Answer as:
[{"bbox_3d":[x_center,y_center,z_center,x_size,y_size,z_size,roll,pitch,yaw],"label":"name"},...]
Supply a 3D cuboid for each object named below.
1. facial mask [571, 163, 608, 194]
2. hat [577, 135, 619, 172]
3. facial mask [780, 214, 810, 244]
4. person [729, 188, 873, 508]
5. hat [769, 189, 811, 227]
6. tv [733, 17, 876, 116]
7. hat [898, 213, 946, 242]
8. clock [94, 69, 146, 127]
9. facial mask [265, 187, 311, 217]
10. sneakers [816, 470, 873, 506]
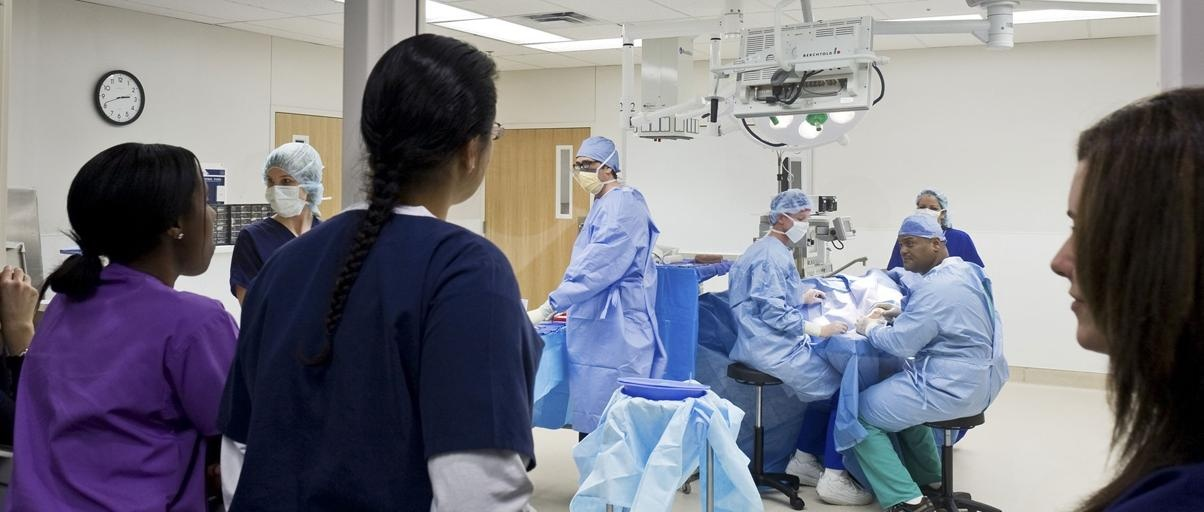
[{"bbox_3d":[-0.069,-0.583,7.100,0.254,0.137,0.224,-17,15,-31],"label":"facial mask"},{"bbox_3d":[-0.043,-0.790,7.114,0.276,0.288,0.267,3,-31,0],"label":"hat"},{"bbox_3d":[1.415,-0.184,6.919,0.208,0.108,0.165,8,1,16],"label":"facial mask"},{"bbox_3d":[1.408,0.657,6.904,0.987,2.262,0.365,1,6,6],"label":"person"},{"bbox_3d":[1.353,-0.343,6.938,0.235,0.133,0.267,5,-29,-36],"label":"hat"},{"bbox_3d":[1.303,-1.279,6.313,0.966,0.530,0.486,3,-2,31],"label":"tv"},{"bbox_3d":[2.299,-0.200,6.747,0.262,0.136,0.256,4,3,39],"label":"hat"},{"bbox_3d":[-4.311,-1.404,8.365,0.599,0.569,0.062,-7,3,-43],"label":"clock"},{"bbox_3d":[-2.023,-0.341,6.059,0.220,0.153,0.225,-1,1,4],"label":"facial mask"},{"bbox_3d":[1.732,1.686,6.853,0.426,0.205,0.218,1,0,-1],"label":"sneakers"}]
